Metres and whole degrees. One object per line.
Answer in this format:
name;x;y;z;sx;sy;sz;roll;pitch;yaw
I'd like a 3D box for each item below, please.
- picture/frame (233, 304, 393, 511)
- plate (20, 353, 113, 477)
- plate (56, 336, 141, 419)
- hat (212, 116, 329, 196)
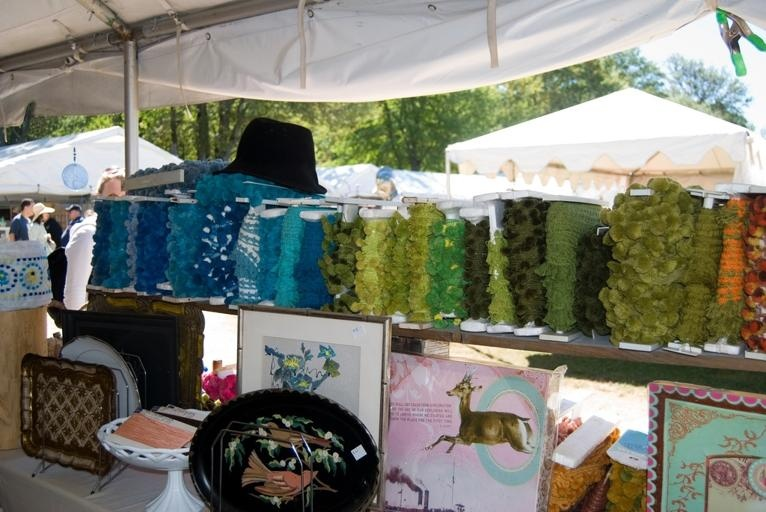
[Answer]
picture/frame;-0.227;0.555;2.583;0.694;0.638;0.049;-1;-8;7
plate;-1.186;0.602;2.847;0.422;0.428;0.058;5;1;30
plate;-1.095;0.434;2.864;0.238;0.370;0.063;-34;-14;19
hat;-0.451;-0.383;2.893;0.354;0.199;0.276;13;4;16
